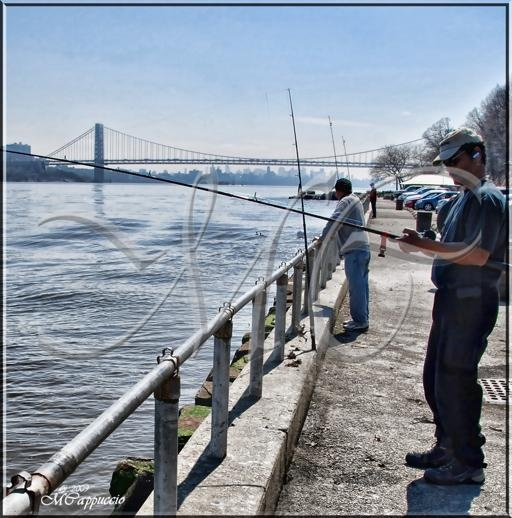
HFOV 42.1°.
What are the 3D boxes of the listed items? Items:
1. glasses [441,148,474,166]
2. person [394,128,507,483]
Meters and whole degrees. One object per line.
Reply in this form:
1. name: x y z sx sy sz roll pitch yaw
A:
1. glasses: 1.055 -0.518 3.391 0.161 0.108 0.054 5 13 19
2. person: 1.012 0.245 3.456 0.545 1.810 0.458 3 14 11
